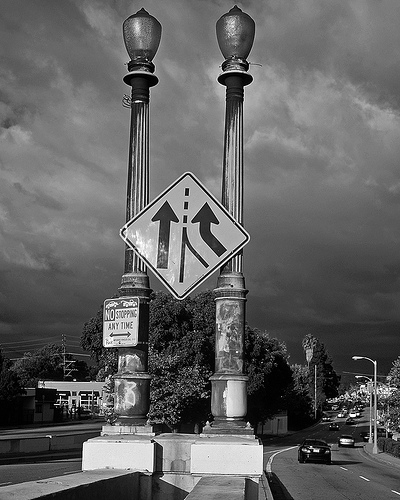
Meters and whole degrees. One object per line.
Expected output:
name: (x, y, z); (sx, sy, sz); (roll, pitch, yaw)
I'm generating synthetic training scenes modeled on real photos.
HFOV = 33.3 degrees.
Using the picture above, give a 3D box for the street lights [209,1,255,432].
street lights: (0.405, -0.522, 8.055); (0.492, 5.274, 0.722); (1, -11, 1)

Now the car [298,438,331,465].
car: (6.763, 11.954, 39.664); (1.821, 1.327, 1.638); (3, -14, -8)

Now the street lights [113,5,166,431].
street lights: (-0.821, -0.530, 8.558); (0.491, 5.380, 0.856); (2, -11, -4)
